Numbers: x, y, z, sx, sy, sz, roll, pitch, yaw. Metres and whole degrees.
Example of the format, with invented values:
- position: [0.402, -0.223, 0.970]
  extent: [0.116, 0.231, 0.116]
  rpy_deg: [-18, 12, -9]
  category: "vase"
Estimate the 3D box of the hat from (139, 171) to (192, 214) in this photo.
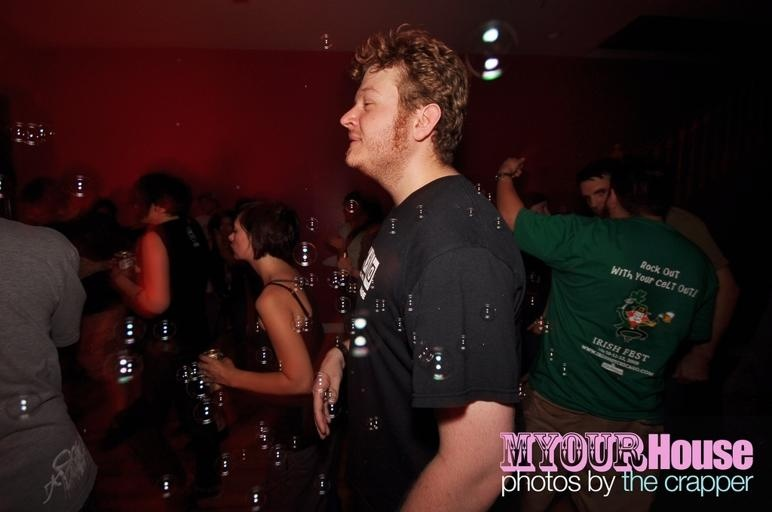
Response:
- position: [-1.906, -0.529, 4.945]
  extent: [0.398, 0.367, 0.269]
  rpy_deg: [1, 4, -8]
  category: "hat"
